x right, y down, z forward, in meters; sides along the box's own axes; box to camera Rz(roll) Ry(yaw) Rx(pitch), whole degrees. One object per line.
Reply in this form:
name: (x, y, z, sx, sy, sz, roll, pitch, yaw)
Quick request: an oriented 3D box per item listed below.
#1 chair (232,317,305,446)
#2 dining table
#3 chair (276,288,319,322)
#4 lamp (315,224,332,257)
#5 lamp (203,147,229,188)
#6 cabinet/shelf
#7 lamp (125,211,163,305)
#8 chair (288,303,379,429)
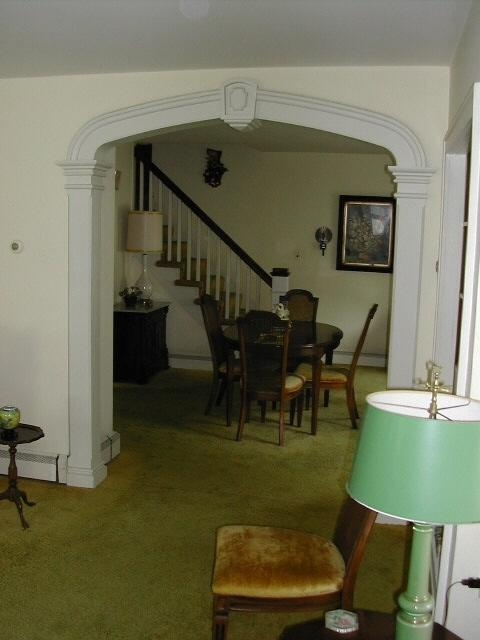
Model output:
chair: (0.265, 0.426, 4.829, 0.591, 1.094, 1.132, 3, 8, 6)
dining table: (0.512, 0.430, 5.126, 0.940, 0.701, 1.002, 1, 12, 0)
chair: (0.662, -0.196, 6.082, 0.353, 0.567, 0.373, 3, 11, 15)
lamp: (1.085, -1.029, 7.302, 0.228, 0.378, 0.097, 3, 8, 8)
lamp: (-0.319, -1.978, 7.372, 0.321, 0.486, 0.253, 2, 8, -3)
cabinet/shelf: (-1.118, 0.232, 6.235, 0.562, 0.718, 0.813, 4, 15, 12)
lamp: (-1.099, -0.711, 6.385, 0.376, 1.020, 0.626, 0, 8, -12)
chair: (0.847, 0.380, 5.123, 0.873, 1.024, 0.814, 3, 9, 38)
